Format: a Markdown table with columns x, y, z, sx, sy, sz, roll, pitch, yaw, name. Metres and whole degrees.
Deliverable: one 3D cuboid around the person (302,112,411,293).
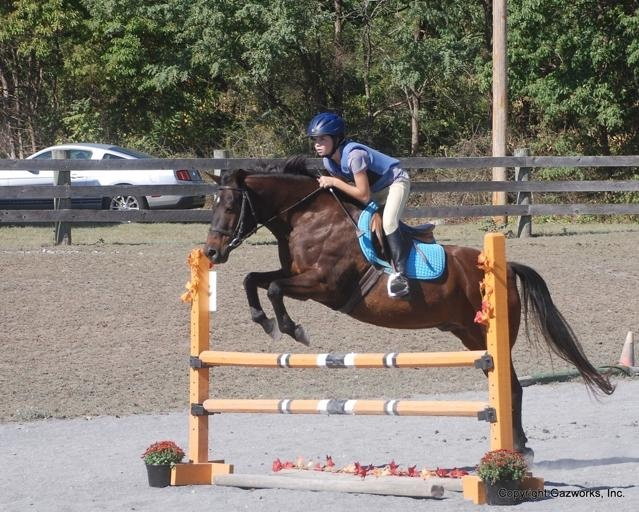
| x | y | z | sx | sy | sz | roll | pitch | yaw | name |
| --- | --- | --- | --- | --- | --- | --- | --- | --- | --- |
| 0.466 | -0.647 | 12.026 | 1.067 | 1.931 | 1.075 | 6 | 15 | -7 | person |
